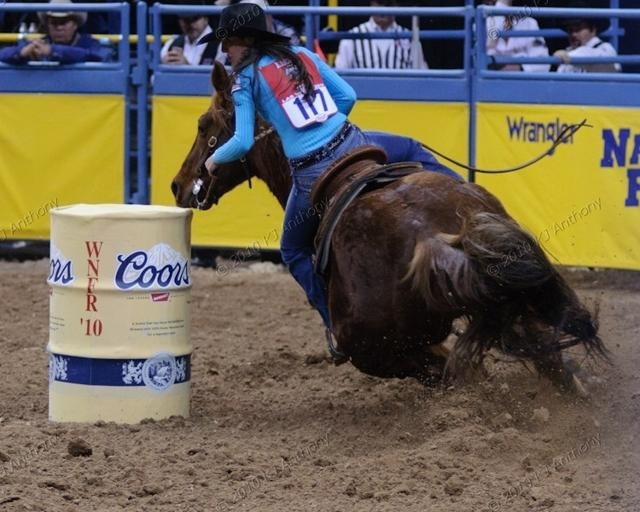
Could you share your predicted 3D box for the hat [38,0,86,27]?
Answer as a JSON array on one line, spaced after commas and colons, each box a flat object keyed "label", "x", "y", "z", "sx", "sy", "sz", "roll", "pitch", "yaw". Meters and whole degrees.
[{"label": "hat", "x": -2.316, "y": -2.215, "z": 12.812, "sx": 0.311, "sy": 0.083, "sz": 0.297, "roll": -1, "pitch": -7, "yaw": -12}]

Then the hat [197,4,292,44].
[{"label": "hat", "x": -0.441, "y": -1.548, "z": 9.494, "sx": 0.420, "sy": 0.151, "sz": 0.336, "roll": -3, "pitch": 4, "yaw": -40}]

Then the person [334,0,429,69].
[{"label": "person", "x": 0.564, "y": -2.001, "z": 12.927, "sx": 0.873, "sy": 0.741, "sz": 0.409, "roll": 0, "pitch": -5, "yaw": -5}]

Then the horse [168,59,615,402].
[{"label": "horse", "x": 0.364, "y": -0.216, "z": 9.655, "sx": 3.262, "sy": 2.141, "sz": 1.387, "roll": 11, "pitch": 17, "yaw": 43}]
